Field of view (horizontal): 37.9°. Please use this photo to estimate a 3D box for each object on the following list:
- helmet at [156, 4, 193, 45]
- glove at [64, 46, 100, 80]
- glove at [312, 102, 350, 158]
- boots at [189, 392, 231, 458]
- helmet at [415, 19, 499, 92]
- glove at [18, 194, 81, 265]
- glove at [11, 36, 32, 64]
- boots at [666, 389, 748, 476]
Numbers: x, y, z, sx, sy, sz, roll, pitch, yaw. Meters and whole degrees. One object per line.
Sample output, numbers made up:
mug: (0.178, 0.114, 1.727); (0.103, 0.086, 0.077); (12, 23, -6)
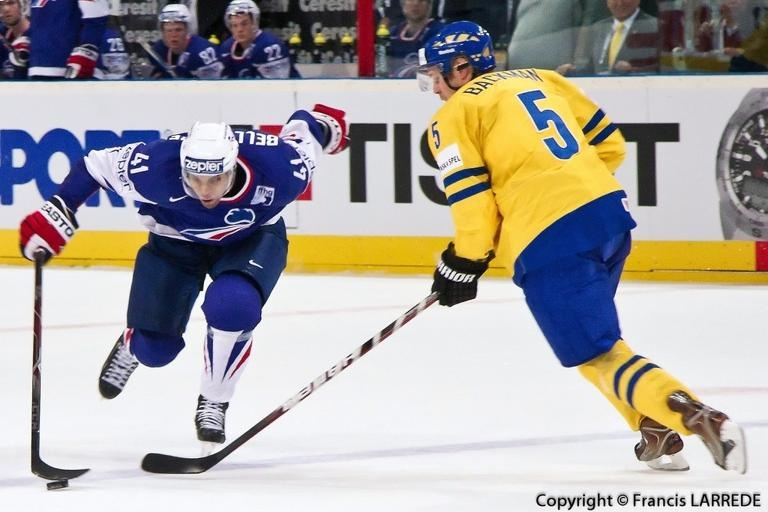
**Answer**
helmet: (-1.480, -1.691, 7.962); (0.234, 0.223, 0.174); (-1, 22, -6)
glove: (-2.144, -1.383, 7.949); (0.218, 0.239, 0.100); (11, 12, -18)
glove: (-0.303, -0.716, 6.150); (0.262, 0.204, 0.260); (-12, 41, -10)
boots: (-0.880, 0.854, 5.612); (0.124, 0.142, 0.337); (6, 39, -21)
helmet: (0.327, -1.025, 5.703); (0.464, 0.318, 0.332); (-10, 22, -16)
glove: (-1.687, -0.127, 5.559); (0.362, 0.262, 0.142); (-41, 9, -1)
glove: (-2.648, -1.498, 8.127); (0.171, 0.202, 0.081); (11, -11, 28)
boots: (1.392, 0.747, 5.026); (0.586, 0.213, 0.195); (4, -1, -41)
